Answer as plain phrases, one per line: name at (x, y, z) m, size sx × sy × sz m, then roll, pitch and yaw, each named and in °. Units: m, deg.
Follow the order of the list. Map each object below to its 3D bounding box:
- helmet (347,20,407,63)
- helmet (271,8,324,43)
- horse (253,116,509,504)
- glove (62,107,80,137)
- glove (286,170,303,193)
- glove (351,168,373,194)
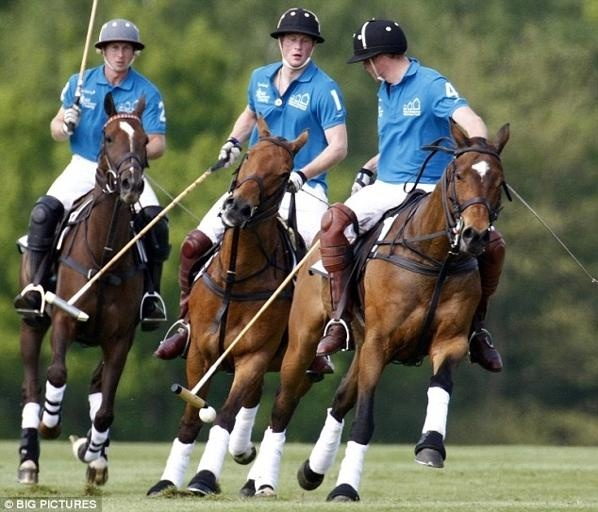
helmet at (0.733, -2.073, 12.620) m, size 0.519 × 0.300 × 0.367 m, roll -2°, pitch 11°, yaw 2°
helmet at (0.070, -2.433, 13.603) m, size 0.398 × 0.199 × 0.433 m, roll 11°, pitch 0°, yaw 34°
horse at (0.862, 0.733, 12.602) m, size 1.293 × 3.117 × 4.501 m, roll 11°, pitch -12°, yaw -17°
glove at (-2.338, -1.409, 13.573) m, size 0.181 × 0.262 × 0.115 m, roll 11°, pitch -10°, yaw -12°
glove at (-0.031, -0.739, 12.834) m, size 0.147 × 0.182 × 0.189 m, roll 5°, pitch -37°, yaw 1°
glove at (0.620, -0.790, 13.661) m, size 0.185 × 0.321 × 0.106 m, roll 23°, pitch -27°, yaw 23°
